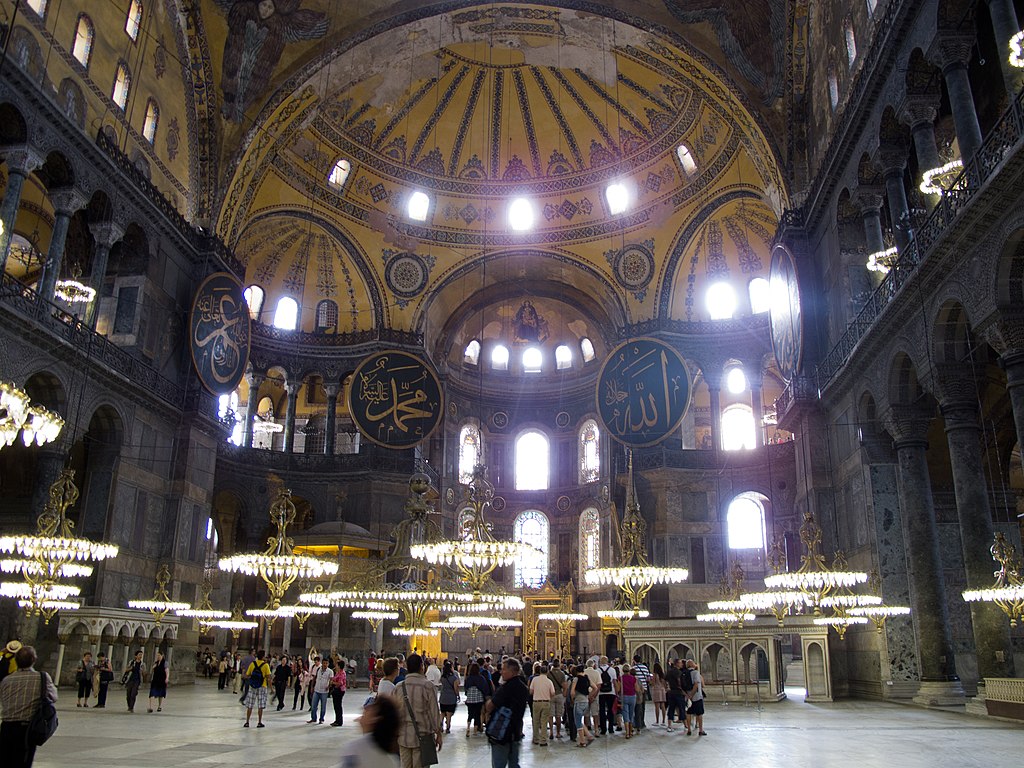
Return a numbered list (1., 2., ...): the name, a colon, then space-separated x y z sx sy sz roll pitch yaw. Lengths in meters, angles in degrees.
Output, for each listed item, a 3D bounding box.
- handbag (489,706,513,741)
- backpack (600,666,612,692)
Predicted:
1. handbag: -0.101 3.502 8.349 0.216 0.337 0.172 12 -28 6
2. backpack: 1.462 4.518 12.443 0.206 0.317 0.313 -1 -43 6
